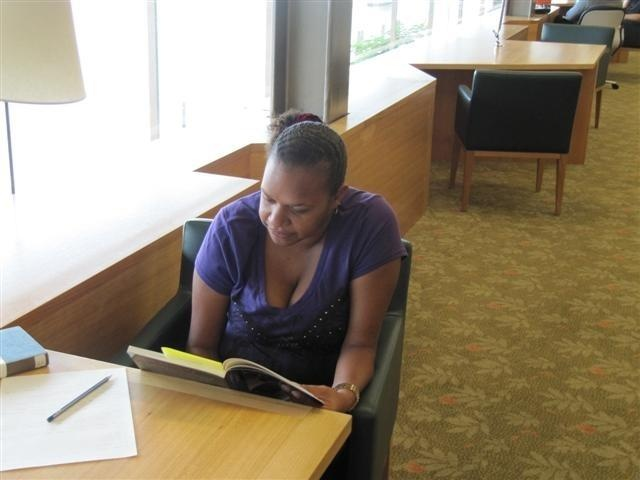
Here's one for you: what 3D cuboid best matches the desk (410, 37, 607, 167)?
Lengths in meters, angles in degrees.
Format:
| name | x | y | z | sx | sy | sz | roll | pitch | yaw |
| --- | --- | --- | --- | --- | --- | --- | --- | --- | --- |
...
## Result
| name | x | y | z | sx | sy | sz | roll | pitch | yaw |
| --- | --- | --- | --- | --- | --- | --- | --- | --- | --- |
| desk | 1.653 | -1.384 | 4.583 | 1.410 | 1.423 | 0.858 | -1 | 7 | -14 |

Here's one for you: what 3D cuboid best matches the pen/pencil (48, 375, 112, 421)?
| name | x | y | z | sx | sy | sz | roll | pitch | yaw |
| --- | --- | --- | --- | --- | --- | --- | --- | --- | --- |
| pen/pencil | -0.467 | 0.310 | 0.949 | 0.011 | 0.011 | 0.112 | 19 | 33 | 24 |
